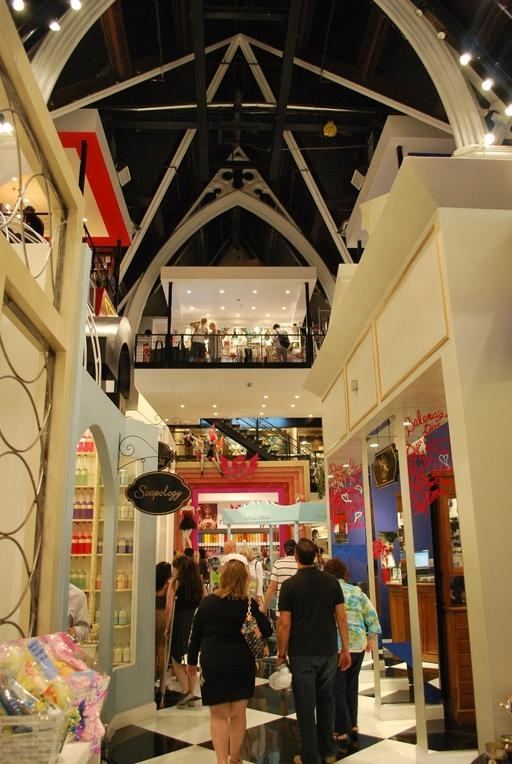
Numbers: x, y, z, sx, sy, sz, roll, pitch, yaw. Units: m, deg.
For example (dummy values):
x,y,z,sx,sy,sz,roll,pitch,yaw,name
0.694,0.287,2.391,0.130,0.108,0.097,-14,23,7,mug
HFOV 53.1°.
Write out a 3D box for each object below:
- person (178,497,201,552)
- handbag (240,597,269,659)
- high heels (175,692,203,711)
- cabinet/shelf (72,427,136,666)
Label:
x,y,z,sx,sy,sz,roll,pitch,yaw,name
-1.289,2.730,9.775,0.295,1.049,0.228,1,14,-1,person
-0.005,1.372,2.841,0.110,0.315,0.257,-5,-20,11,handbag
-0.590,2.876,4.597,0.233,0.143,0.116,22,14,-38,high heels
-1.408,1.433,4.743,0.485,2.095,0.982,13,-23,-34,cabinet/shelf
